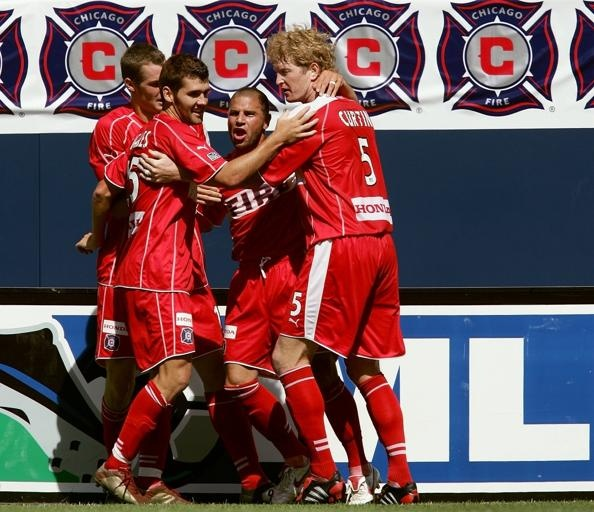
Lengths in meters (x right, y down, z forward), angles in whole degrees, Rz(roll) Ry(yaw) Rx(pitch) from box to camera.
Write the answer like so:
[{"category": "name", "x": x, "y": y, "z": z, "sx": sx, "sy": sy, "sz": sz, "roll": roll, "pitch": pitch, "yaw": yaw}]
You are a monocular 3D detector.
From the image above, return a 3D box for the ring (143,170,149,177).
[{"category": "ring", "x": -0.789, "y": -0.427, "z": 5.978, "sx": 0.029, "sy": 0.029, "sz": 0.010, "roll": 0, "pitch": 2, "yaw": 37}]

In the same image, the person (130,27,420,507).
[{"category": "person", "x": 0.207, "y": 0.229, "z": 5.943, "sx": 0.833, "sy": 2.061, "sz": 0.457, "roll": 8, "pitch": -13, "yaw": -37}]

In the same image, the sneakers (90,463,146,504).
[{"category": "sneakers", "x": -0.936, "y": 1.208, "z": 6.038, "sx": 0.302, "sy": 0.139, "sz": 0.157, "roll": 34, "pitch": 16, "yaw": -11}]
